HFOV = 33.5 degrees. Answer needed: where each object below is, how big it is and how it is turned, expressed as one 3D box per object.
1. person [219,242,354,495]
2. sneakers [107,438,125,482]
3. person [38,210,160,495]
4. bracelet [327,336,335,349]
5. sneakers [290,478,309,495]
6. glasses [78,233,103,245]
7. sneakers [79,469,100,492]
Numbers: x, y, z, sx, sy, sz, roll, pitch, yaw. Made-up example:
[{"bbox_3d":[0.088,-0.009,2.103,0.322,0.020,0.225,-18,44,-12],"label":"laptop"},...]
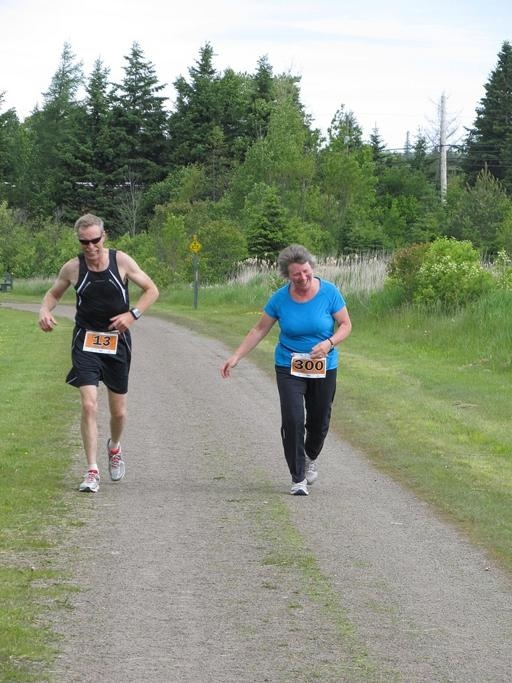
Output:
[{"bbox_3d":[0.283,0.294,6.428,0.805,1.659,0.550,3,4,-1],"label":"person"},{"bbox_3d":[-1.087,0.925,6.597,0.125,0.343,0.140,-5,-3,-5],"label":"sneakers"},{"bbox_3d":[-1.128,0.077,6.319,0.659,2.013,0.608,1,4,-23],"label":"person"},{"bbox_3d":[0.544,0.006,6.228,0.029,0.072,0.057,-7,10,-19],"label":"bracelet"},{"bbox_3d":[0.310,1.070,6.260,0.086,0.096,0.217,0,-12,1],"label":"sneakers"},{"bbox_3d":[-1.179,-0.729,6.063,0.161,0.081,0.150,2,4,-8],"label":"glasses"},{"bbox_3d":[-1.205,1.003,6.151,0.140,0.164,0.231,2,4,-11],"label":"sneakers"}]
